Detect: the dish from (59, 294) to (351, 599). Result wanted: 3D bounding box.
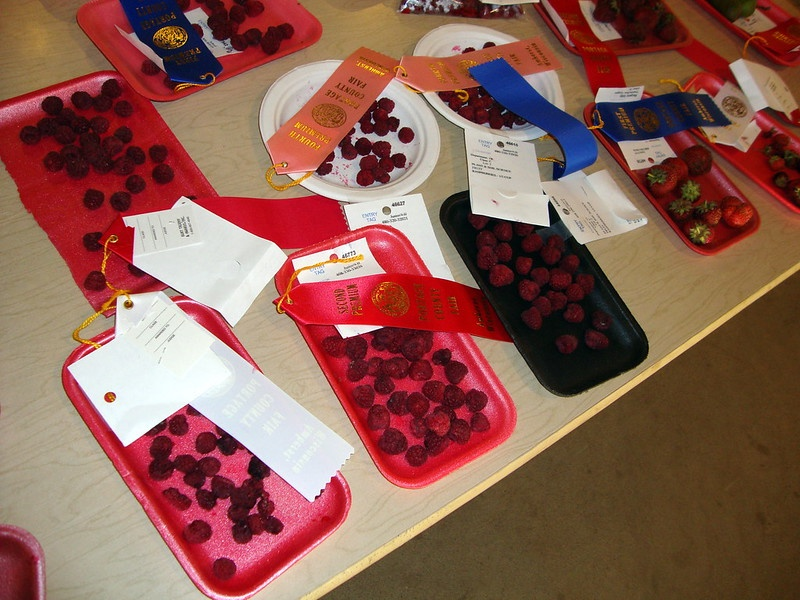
[{"bbox_3d":[-0.427,0.359,1.357,0.384,0.088,0.607,-37,76,-14],"label":"dish"}]

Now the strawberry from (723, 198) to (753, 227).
[{"bbox_3d":[1.023,-0.259,1.769,0.094,0.042,0.087,16,79,-24],"label":"strawberry"}]

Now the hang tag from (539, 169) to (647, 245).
[{"bbox_3d":[0.557,-0.262,1.693,0.263,0.037,0.237,-17,69,-26],"label":"hang tag"}]

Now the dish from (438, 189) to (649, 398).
[{"bbox_3d":[0.350,-0.038,1.645,0.413,0.074,0.649,-29,82,-24],"label":"dish"}]

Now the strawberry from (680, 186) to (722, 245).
[{"bbox_3d":[0.914,-0.249,1.788,0.097,0.069,0.147,25,82,13],"label":"strawberry"}]

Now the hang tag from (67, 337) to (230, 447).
[{"bbox_3d":[-0.593,0.220,1.375,0.338,0.087,0.242,-37,82,-11],"label":"hang tag"}]

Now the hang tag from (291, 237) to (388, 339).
[{"bbox_3d":[-0.185,-0.056,1.568,0.252,0.036,0.239,-20,70,-28],"label":"hang tag"}]

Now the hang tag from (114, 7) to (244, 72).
[{"bbox_3d":[-0.659,-0.720,1.742,0.253,0.029,0.282,-31,80,-33],"label":"hang tag"}]

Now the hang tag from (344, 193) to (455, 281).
[{"bbox_3d":[-0.012,-0.157,1.583,0.195,0.014,0.250,-22,76,-18],"label":"hang tag"}]

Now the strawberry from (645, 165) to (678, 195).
[{"bbox_3d":[0.791,-0.353,1.754,0.118,0.091,0.087,-36,123,-56],"label":"strawberry"}]

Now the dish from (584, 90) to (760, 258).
[{"bbox_3d":[0.816,-0.329,1.910,0.363,0.066,0.618,-33,83,-21],"label":"dish"}]

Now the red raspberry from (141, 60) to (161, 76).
[{"bbox_3d":[-0.701,-0.643,1.658,0.044,0.013,0.043,3,61,-33],"label":"red raspberry"}]

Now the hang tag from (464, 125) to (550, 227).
[{"bbox_3d":[0.297,-0.325,1.673,0.286,0.063,0.265,-1,70,-21],"label":"hang tag"}]
